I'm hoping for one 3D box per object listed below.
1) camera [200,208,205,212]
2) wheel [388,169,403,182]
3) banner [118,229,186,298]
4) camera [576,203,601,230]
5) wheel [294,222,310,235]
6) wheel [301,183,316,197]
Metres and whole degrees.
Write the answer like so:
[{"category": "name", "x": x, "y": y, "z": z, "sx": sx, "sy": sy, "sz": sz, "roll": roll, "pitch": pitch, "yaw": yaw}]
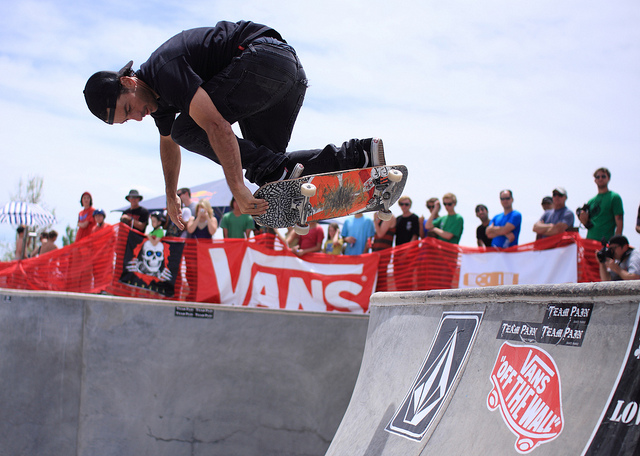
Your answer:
[{"category": "camera", "x": -1.689, "y": -0.273, "z": 16.541, "sx": 0.064, "sy": 0.046, "sz": 0.052, "roll": -5, "pitch": 4, "yaw": -7}, {"category": "wheel", "x": 0.827, "y": -0.581, "z": 12.521, "sx": 0.115, "sy": 0.079, "sz": 0.121, "roll": 3, "pitch": 1, "yaw": 0}, {"category": "banner", "x": -2.296, "y": 0.519, "z": 15.598, "sx": 0.723, "sy": 0.795, "sz": 0.129, "roll": 14, "pitch": -30, "yaw": -7}, {"category": "camera", "x": 3.291, "y": -0.145, "z": 13.924, "sx": 0.219, "sy": 0.347, "sz": 0.113, "roll": 0, "pitch": 4, "yaw": 35}, {"category": "wheel", "x": -0.194, "y": -0.003, "z": 12.632, "sx": 0.171, "sy": 0.150, "sz": 0.347, "roll": -5, "pitch": 5, "yaw": -1}, {"category": "wheel", "x": -0.123, "y": -0.422, "z": 12.307, "sx": 0.126, "sy": 0.086, "sz": 0.131, "roll": 12, "pitch": 7, "yaw": -1}]
